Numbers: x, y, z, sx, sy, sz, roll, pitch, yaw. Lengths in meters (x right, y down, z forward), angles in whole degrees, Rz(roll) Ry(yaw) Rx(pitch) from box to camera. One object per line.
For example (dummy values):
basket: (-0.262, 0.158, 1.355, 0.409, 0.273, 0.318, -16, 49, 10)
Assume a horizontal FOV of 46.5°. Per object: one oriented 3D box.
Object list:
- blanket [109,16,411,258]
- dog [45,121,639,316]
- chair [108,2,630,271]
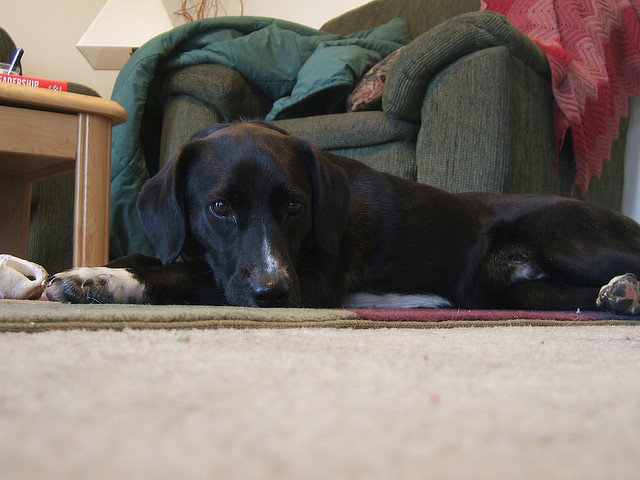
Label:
blanket: (-0.248, -0.406, 2.907, 1.095, 0.608, 1.021, -17, 30, -1)
dog: (0.190, -0.010, 2.188, 1.257, 0.357, 0.795, 5, -16, -23)
chair: (0.227, -0.392, 2.864, 1.268, 0.856, 0.724, -2, -12, 35)
